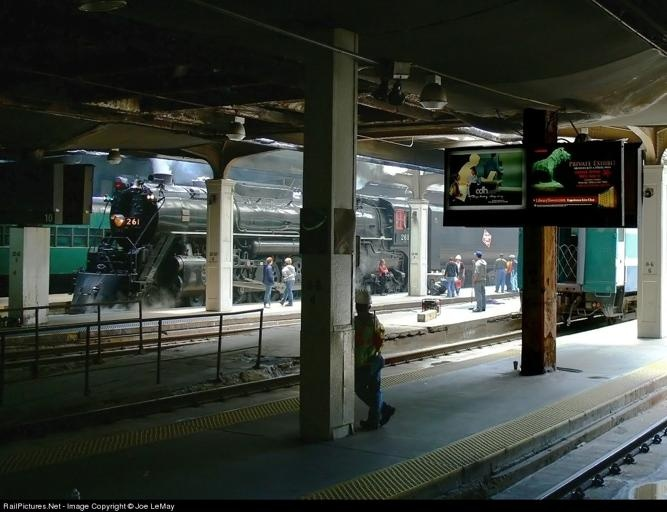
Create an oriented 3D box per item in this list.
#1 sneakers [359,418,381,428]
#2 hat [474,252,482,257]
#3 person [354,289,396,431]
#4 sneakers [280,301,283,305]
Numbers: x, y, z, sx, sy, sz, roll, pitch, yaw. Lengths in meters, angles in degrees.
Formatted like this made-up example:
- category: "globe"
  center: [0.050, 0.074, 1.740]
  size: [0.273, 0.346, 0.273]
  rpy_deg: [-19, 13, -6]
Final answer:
- category: "sneakers"
  center: [0.493, 2.323, 7.205]
  size: [0.196, 0.063, 0.143]
  rpy_deg: [-3, -3, 6]
- category: "hat"
  center: [6.951, -0.107, 25.069]
  size: [0.400, 0.188, 0.232]
  rpy_deg: [10, 18, 10]
- category: "person"
  center: [0.571, 1.463, 7.408]
  size: [0.627, 1.932, 0.668]
  rpy_deg: [4, 0, 3]
- category: "sneakers"
  center: [-2.357, 2.133, 23.566]
  size: [0.220, 0.184, 0.207]
  rpy_deg: [2, -9, 1]
